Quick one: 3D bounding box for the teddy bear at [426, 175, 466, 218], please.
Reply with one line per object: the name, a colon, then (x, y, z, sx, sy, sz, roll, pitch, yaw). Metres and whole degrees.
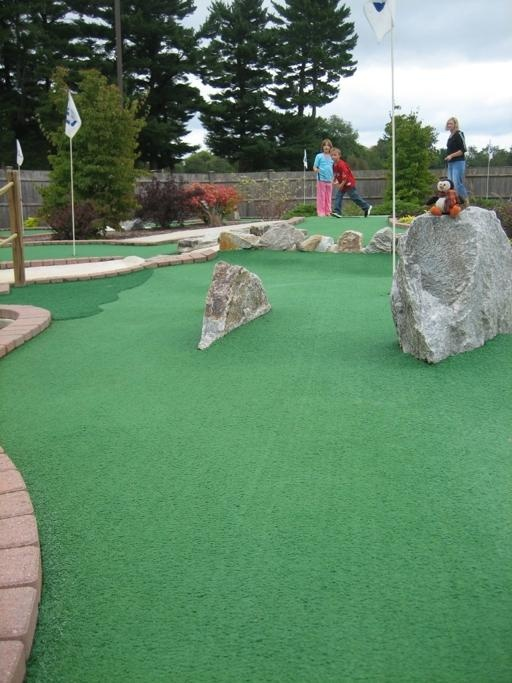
teddy bear: (1.300, -0.982, 3.845, 0.232, 0.257, 0.284, 2, 13, 19)
